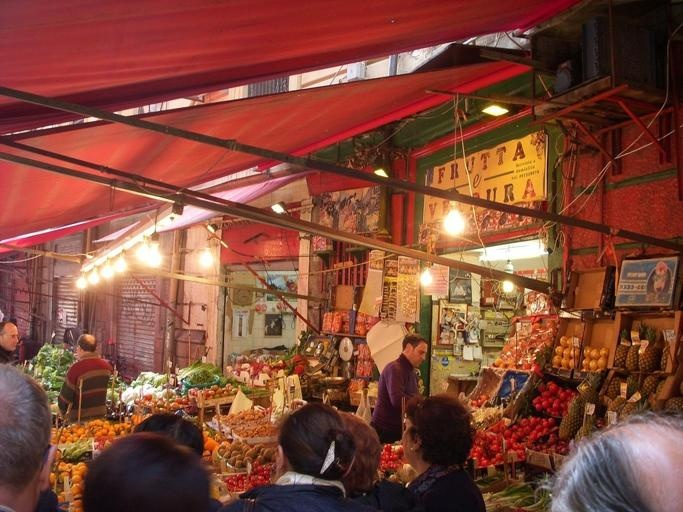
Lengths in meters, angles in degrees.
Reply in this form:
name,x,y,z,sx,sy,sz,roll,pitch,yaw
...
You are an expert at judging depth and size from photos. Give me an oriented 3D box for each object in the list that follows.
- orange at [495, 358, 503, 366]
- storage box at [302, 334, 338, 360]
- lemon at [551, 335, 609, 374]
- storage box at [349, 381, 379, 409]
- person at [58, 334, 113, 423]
name,x,y,z,sx,sy,sz,roll,pitch,yaw
orange,1.759,1.193,7.261,0.068,0.087,0.071,1,3,2
storage box,-0.370,1.491,10.711,0.426,0.394,0.891,7,-9,-23
lemon,2.318,0.932,6.241,0.235,0.307,0.382,-4,4,-45
storage box,0.304,1.986,9.454,0.506,0.331,0.516,-1,14,5
person,-3.083,1.441,7.867,0.566,1.098,0.591,1,3,-17
